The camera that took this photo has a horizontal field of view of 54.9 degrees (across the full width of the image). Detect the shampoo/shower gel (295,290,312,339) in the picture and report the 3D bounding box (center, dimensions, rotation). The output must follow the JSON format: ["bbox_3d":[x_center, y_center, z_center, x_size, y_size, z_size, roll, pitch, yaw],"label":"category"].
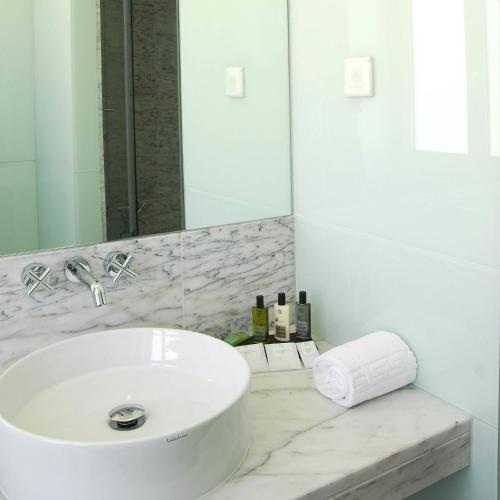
[{"bbox_3d":[0.170,0.214,1.571,0.050,0.161,0.049,-4,10,4],"label":"shampoo/shower gel"}]

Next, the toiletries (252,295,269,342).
[{"bbox_3d":[0.031,0.218,1.601,0.057,0.150,0.135,-4,9,1],"label":"toiletries"}]

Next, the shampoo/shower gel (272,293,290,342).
[{"bbox_3d":[0.101,0.211,1.612,0.049,0.165,0.129,-4,10,1],"label":"shampoo/shower gel"}]

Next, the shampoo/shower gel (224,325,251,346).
[{"bbox_3d":[-0.039,0.285,1.585,0.038,0.020,0.077,6,14,36],"label":"shampoo/shower gel"}]

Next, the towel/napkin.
[{"bbox_3d":[0.301,0.288,1.281,0.236,0.103,0.163,-16,29,-26],"label":"towel/napkin"}]

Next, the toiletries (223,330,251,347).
[{"bbox_3d":[-0.041,0.285,1.552,0.038,0.021,0.082,7,12,37],"label":"toiletries"}]
